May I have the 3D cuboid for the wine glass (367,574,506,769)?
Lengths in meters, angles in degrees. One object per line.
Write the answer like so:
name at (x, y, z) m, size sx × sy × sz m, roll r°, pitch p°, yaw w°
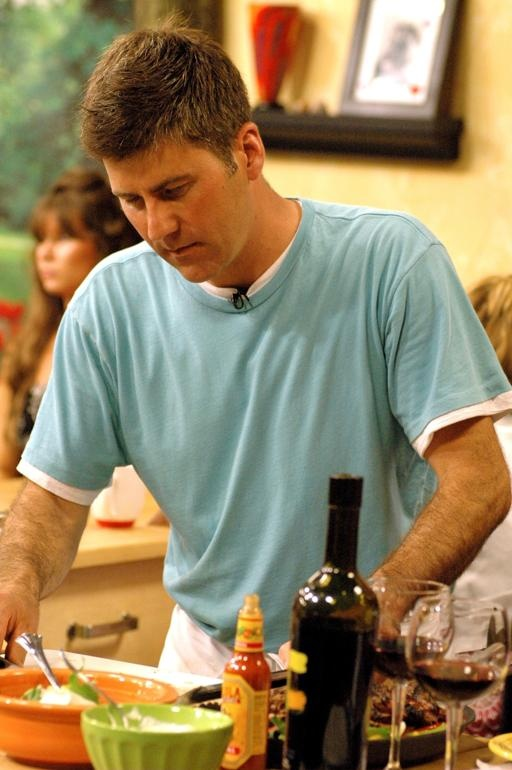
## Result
wine glass at (0.168, 0.275, 0.685) m, size 0.116 × 0.208 × 0.151 m, roll -3°, pitch 22°, yaw 7°
